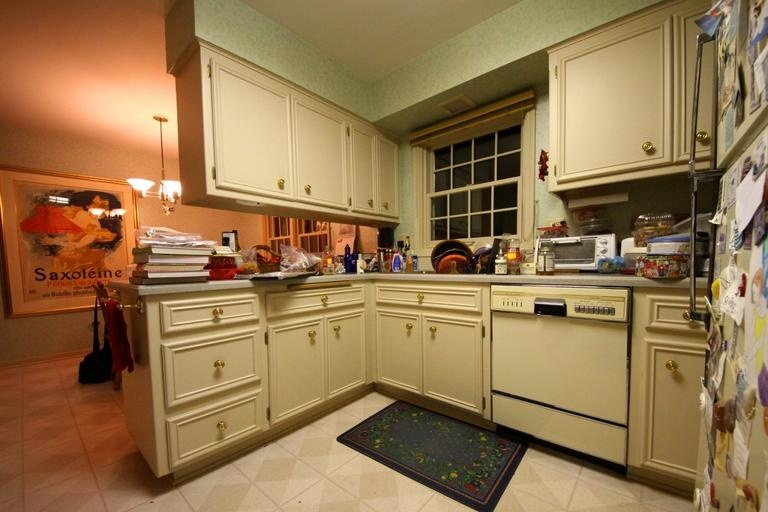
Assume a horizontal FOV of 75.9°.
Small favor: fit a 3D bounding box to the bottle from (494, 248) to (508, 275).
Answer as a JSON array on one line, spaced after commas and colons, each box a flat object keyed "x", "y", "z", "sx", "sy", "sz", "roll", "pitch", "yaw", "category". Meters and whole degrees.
[{"x": 0.955, "y": 0.078, "z": 4.110, "sx": 0.155, "sy": 0.248, "sz": 0.151, "roll": -1, "pitch": 1, "yaw": 0, "category": "bottle"}]

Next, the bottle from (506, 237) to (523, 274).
[{"x": 1.069, "y": 0.000, "z": 4.073, "sx": 0.119, "sy": 0.288, "sz": 0.428, "roll": 0, "pitch": 1, "yaw": 14, "category": "bottle"}]

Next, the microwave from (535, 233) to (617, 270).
[{"x": 1.505, "y": -0.025, "z": 3.895, "sx": 0.586, "sy": 0.277, "sz": 0.212, "roll": -1, "pitch": 2, "yaw": 10, "category": "microwave"}]

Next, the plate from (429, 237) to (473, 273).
[{"x": 0.596, "y": 0.003, "z": 4.420, "sx": 0.324, "sy": 0.310, "sz": 0.117, "roll": 13, "pitch": 16, "yaw": 19, "category": "plate"}]

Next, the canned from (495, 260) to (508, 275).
[{"x": 0.949, "y": 0.086, "z": 3.917, "sx": 0.114, "sy": 0.115, "sz": 0.113, "roll": -1, "pitch": -1, "yaw": 30, "category": "canned"}]

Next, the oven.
[{"x": 1.620, "y": 0.824, "z": 4.060, "sx": 1.152, "sy": 1.369, "sz": 1.070, "roll": 2, "pitch": 8, "yaw": 38, "category": "oven"}]

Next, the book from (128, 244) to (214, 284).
[{"x": -1.548, "y": 0.057, "z": 3.646, "sx": 0.335, "sy": 0.202, "sz": 0.424, "roll": -4, "pitch": -4, "yaw": 43, "category": "book"}]
